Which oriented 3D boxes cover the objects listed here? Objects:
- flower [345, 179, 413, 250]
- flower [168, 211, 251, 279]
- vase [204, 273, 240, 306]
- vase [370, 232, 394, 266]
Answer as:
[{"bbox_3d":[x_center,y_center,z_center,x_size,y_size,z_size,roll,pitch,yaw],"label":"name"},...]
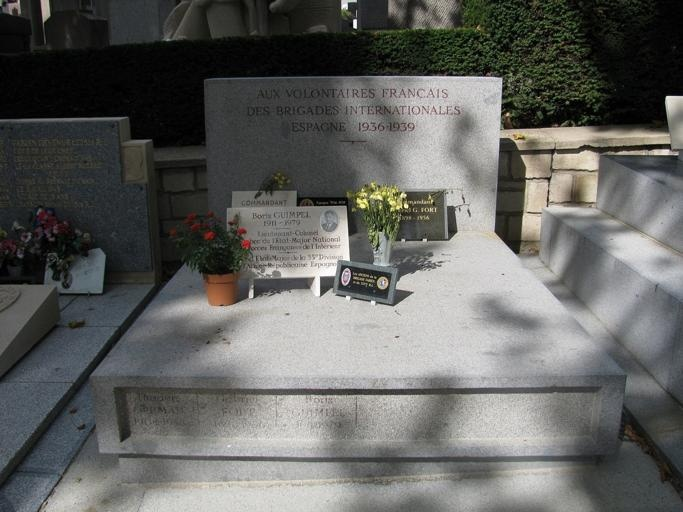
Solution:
[{"bbox_3d":[0.266,-0.285,3.937,0.324,0.427,0.304,-3,21,1],"label":"flower"},{"bbox_3d":[-0.811,-0.057,3.763,0.537,0.371,0.484,3,20,-6],"label":"flower"},{"bbox_3d":[-0.787,0.204,3.714,0.269,0.193,0.261,-1,4,-9],"label":"vase"},{"bbox_3d":[0.251,-0.019,3.930,0.187,0.197,0.173,8,-20,-14],"label":"vase"}]
